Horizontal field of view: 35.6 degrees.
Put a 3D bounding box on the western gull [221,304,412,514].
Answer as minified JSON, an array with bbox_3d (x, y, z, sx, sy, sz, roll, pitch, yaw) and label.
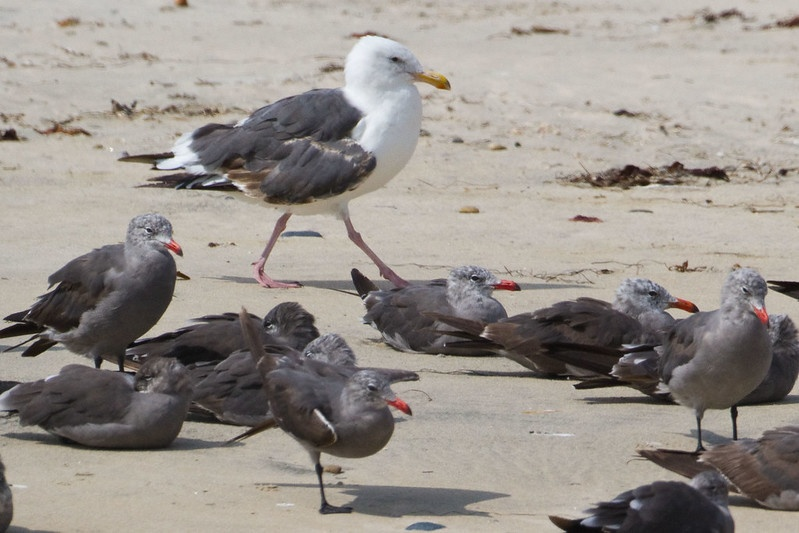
[{"bbox_3d":[-0.731,1.455,11.313,1.526,1.275,0.653,20,15,40],"label":"western gull"}]
